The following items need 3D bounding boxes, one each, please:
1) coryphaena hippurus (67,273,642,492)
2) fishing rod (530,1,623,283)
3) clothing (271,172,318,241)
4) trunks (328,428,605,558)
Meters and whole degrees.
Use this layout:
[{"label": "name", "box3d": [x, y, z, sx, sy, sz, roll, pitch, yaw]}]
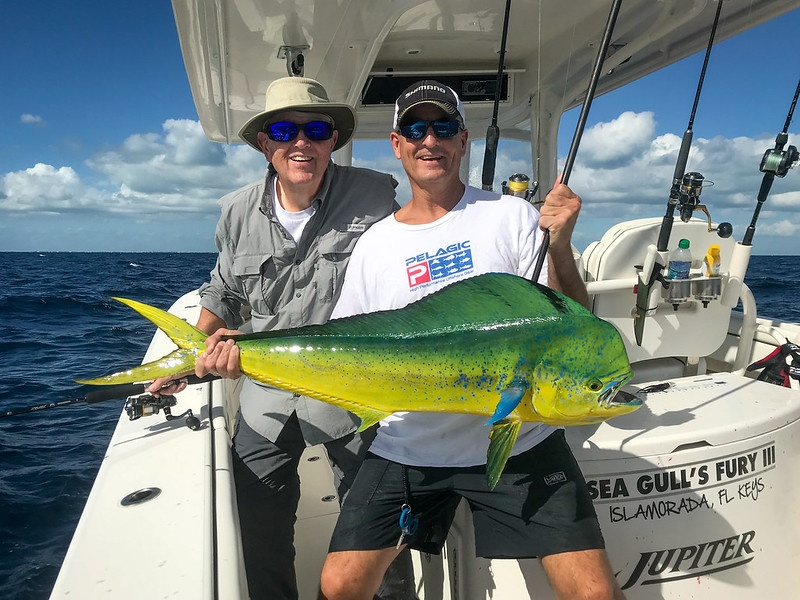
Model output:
[{"label": "coryphaena hippurus", "box3d": [-0.083, 0.260, 2.097, 1.901, 0.781, 0.396, 1, 26, 3]}, {"label": "fishing rod", "box3d": [1.022, -1.083, 3.355, 0.031, 2.032, 0.041, 15, 14, -7]}, {"label": "clothing", "box3d": [-0.584, -0.477, 3.065, 0.195, 0.273, 0.173, 1, -4, -6]}, {"label": "trunks", "box3d": [0.293, 0.875, 2.515, 1.134, 0.607, 0.423, 1, -7, 11]}]
